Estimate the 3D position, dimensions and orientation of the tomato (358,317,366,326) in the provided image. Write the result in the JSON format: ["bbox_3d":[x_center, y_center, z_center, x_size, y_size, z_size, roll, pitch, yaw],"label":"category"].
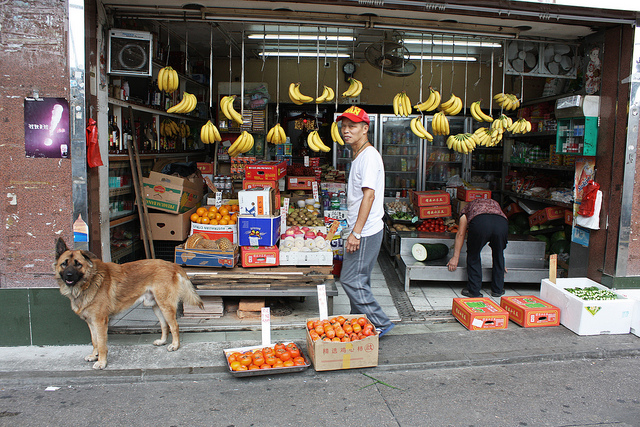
[{"bbox_3d":[0.470,1.185,4.900,0.069,0.069,0.070,-9,-17,20],"label":"tomato"}]

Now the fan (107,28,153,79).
[{"bbox_3d":[-2.476,-2.140,5.873,0.609,0.600,0.544,-7,-23,-24],"label":"fan"}]

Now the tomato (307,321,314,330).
[{"bbox_3d":[-0.093,1.227,4.903,0.067,0.070,0.067,-13,-44,16],"label":"tomato"}]

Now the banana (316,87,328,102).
[{"bbox_3d":[0.052,-1.663,6.276,0.132,0.385,0.078,31,-47,-14],"label":"banana"}]

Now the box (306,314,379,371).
[{"bbox_3d":[0.240,1.389,4.728,0.506,0.231,0.471,-1,6,-7],"label":"box"}]

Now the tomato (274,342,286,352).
[{"bbox_3d":[-0.427,1.425,4.805,0.121,0.033,0.134,-4,10,-12],"label":"tomato"}]

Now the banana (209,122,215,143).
[{"bbox_3d":[-1.511,-1.141,6.236,0.059,0.220,0.081,-1,4,40],"label":"banana"}]

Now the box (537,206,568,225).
[{"bbox_3d":[4.112,0.035,7.945,0.143,0.345,0.472,-9,12,-34],"label":"box"}]

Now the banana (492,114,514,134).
[{"bbox_3d":[2.808,-1.384,6.815,0.222,0.274,0.091,-5,-31,19],"label":"banana"}]

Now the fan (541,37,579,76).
[{"bbox_3d":[3.482,-2.228,6.438,0.537,0.494,0.139,-2,5,-2],"label":"fan"}]

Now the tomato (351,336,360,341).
[{"bbox_3d":[0.375,1.318,4.694,0.046,0.043,0.045,7,-16,-33],"label":"tomato"}]

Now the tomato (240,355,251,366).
[{"bbox_3d":[-0.755,1.513,4.600,0.084,0.082,0.082,-5,6,-36],"label":"tomato"}]

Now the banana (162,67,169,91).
[{"bbox_3d":[-2.088,-1.826,6.095,0.079,0.283,0.101,3,5,-7],"label":"banana"}]

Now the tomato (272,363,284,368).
[{"bbox_3d":[-0.419,1.560,4.587,0.110,0.022,0.056,-3,10,-5],"label":"tomato"}]

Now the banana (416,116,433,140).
[{"bbox_3d":[1.581,-1.286,6.736,0.221,0.348,0.219,0,10,13],"label":"banana"}]

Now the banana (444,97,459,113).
[{"bbox_3d":[1.993,-1.638,6.779,0.179,0.199,0.249,-4,10,-8],"label":"banana"}]

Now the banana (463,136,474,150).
[{"bbox_3d":[2.381,-1.121,7.102,0.150,0.213,0.093,-7,11,-24],"label":"banana"}]

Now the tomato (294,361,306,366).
[{"bbox_3d":[-0.202,1.560,4.627,0.110,0.040,0.061,-5,10,-15],"label":"tomato"}]

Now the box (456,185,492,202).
[{"bbox_3d":[2.962,-0.381,8.799,0.371,0.162,0.484,1,11,0],"label":"box"}]

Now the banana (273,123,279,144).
[{"bbox_3d":[-0.613,-1.131,6.392,0.060,0.253,0.070,1,6,6],"label":"banana"}]

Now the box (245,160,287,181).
[{"bbox_3d":[-0.834,-0.639,6.757,0.447,0.271,0.673,0,10,13],"label":"box"}]

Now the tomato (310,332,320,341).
[{"bbox_3d":[-0.049,1.291,4.681,0.077,0.073,0.076,0,2,-6],"label":"tomato"}]

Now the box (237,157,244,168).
[{"bbox_3d":[-1.362,-0.872,7.688,0.125,0.123,0.229,7,47,-16],"label":"box"}]

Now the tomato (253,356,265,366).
[{"bbox_3d":[-0.624,1.513,4.591,0.088,0.083,0.088,0,3,2],"label":"tomato"}]

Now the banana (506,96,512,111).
[{"bbox_3d":[2.911,-1.655,6.807,0.047,0.172,0.062,6,-11,-3],"label":"banana"}]

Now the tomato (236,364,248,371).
[{"bbox_3d":[-0.792,1.573,4.549,0.058,0.068,0.058,-1,0,4],"label":"tomato"}]

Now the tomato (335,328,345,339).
[{"bbox_3d":[0.224,1.265,4.723,0.082,0.081,0.080,0,-8,0],"label":"tomato"}]

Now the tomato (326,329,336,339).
[{"bbox_3d":[0.126,1.268,4.695,0.084,0.083,0.083,4,-22,-4],"label":"tomato"}]

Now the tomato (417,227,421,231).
[{"bbox_3d":[1.862,0.291,8.273,0.044,0.052,0.044,-6,6,2],"label":"tomato"}]

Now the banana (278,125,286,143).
[{"bbox_3d":[-0.513,-1.128,6.401,0.090,0.249,0.077,-7,13,32],"label":"banana"}]

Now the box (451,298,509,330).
[{"bbox_3d":[2.041,1.264,5.700,0.598,0.284,0.449,-3,10,-2],"label":"box"}]

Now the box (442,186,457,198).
[{"bbox_3d":[2.761,-0.455,9.361,0.239,0.227,0.235,2,20,8],"label":"box"}]

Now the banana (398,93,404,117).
[{"bbox_3d":[1.225,-1.615,6.724,0.101,0.287,0.059,0,6,5],"label":"banana"}]

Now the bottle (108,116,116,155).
[{"bbox_3d":[-2.808,-1.062,6.033,0.109,0.505,0.314,-7,11,-24],"label":"bottle"}]

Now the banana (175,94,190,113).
[{"bbox_3d":[-1.870,-1.512,6.109,0.179,0.220,0.111,-3,10,-4],"label":"banana"}]

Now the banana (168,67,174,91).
[{"bbox_3d":[-2.035,-1.847,6.119,0.085,0.282,0.075,-6,11,-16],"label":"banana"}]

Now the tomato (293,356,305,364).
[{"bbox_3d":[-0.214,1.532,4.672,0.065,0.066,0.064,-7,-12,22],"label":"tomato"}]

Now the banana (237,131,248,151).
[{"bbox_3d":[-1.082,-1.032,6.403,0.116,0.341,0.093,6,38,-30],"label":"banana"}]

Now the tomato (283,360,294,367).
[{"bbox_3d":[-0.316,1.549,4.603,0.110,0.036,0.065,-3,10,-6],"label":"tomato"}]
